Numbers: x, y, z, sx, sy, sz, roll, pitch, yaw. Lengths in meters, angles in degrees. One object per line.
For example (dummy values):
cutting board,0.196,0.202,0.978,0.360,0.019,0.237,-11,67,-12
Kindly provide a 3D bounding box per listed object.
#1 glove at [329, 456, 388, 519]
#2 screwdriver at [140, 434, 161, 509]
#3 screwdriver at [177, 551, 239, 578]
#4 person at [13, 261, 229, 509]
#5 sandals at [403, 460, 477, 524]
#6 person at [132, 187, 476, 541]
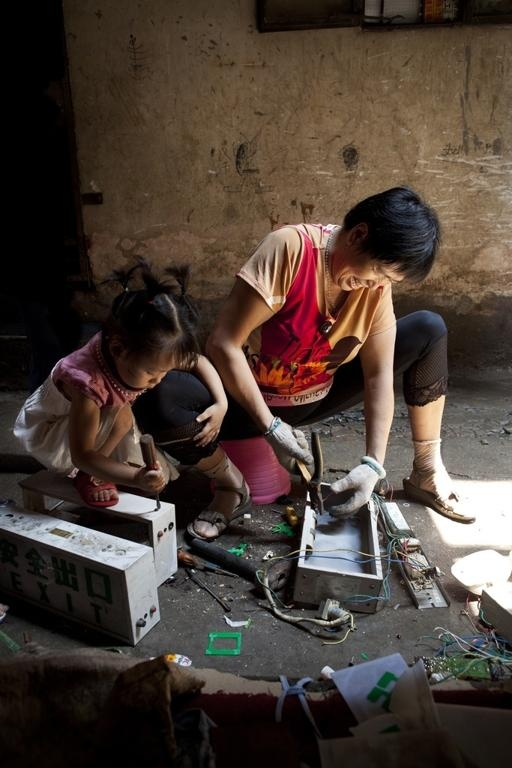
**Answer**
glove,0.362,0.400,2.355,0.174,0.262,0.316,7,20,8
screwdriver,-0.330,0.294,2.103,0.039,0.250,0.035,-8,19,-9
screwdriver,-0.168,0.637,2.307,0.174,0.048,0.030,15,-14,17
person,-0.508,0.046,2.280,0.763,0.917,0.511,4,20,1
sandals,0.749,0.450,2.652,0.103,0.116,0.325,-12,27,-39
person,0.194,-0.070,2.649,1.258,1.298,0.969,-23,49,-28
